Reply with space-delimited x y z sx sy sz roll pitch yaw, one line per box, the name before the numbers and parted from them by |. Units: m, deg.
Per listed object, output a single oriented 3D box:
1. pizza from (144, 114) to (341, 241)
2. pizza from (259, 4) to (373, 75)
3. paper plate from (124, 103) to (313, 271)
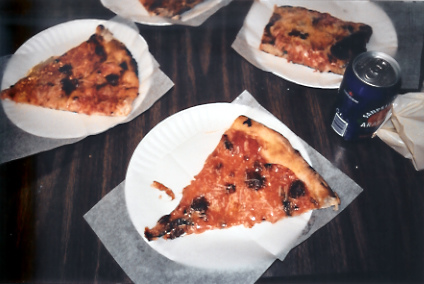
pizza | 0.084 0.104 1.255 0.433 0.326 0.520 4 43 2
pizza | 0.325 -0.326 1.334 0.329 0.033 0.216 23 78 8
paper plate | 0.017 0.112 1.204 0.519 0.036 0.476 3 76 3
